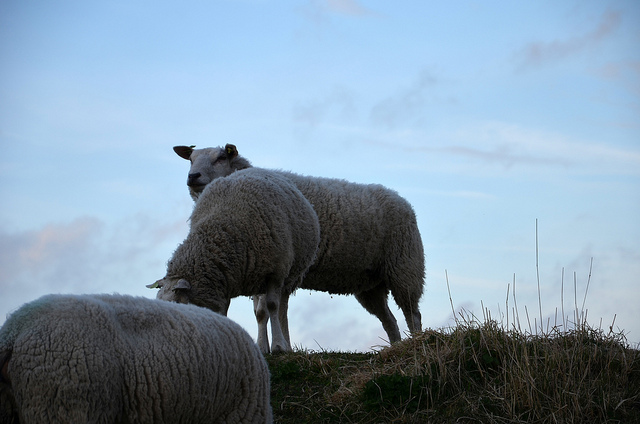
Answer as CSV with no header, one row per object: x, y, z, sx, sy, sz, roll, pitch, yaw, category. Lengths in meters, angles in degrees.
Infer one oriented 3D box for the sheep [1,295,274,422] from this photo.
-1.781,1.406,8.424,2.275,1.199,1.013,8,-8,-34,sheep

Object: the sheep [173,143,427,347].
-0.346,0.664,13.627,4.573,2.885,1.721,6,-11,-31,sheep
